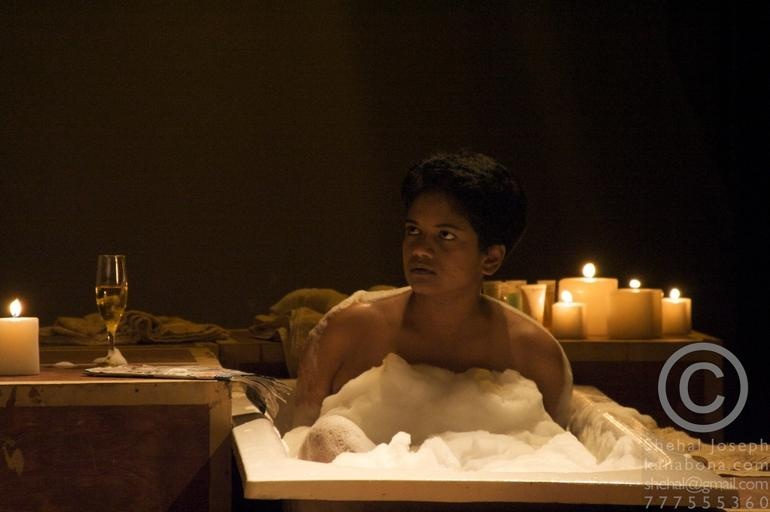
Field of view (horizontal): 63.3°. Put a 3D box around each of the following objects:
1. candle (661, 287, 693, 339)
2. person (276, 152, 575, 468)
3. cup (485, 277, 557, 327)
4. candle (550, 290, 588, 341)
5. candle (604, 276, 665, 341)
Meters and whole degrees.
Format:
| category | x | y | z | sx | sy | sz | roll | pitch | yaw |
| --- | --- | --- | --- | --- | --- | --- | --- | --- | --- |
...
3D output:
| category | x | y | z | sx | sy | sz | roll | pitch | yaw |
| --- | --- | --- | --- | --- | --- | --- | --- | --- | --- |
| candle | 1.133 | 0.229 | 2.464 | 0.102 | 0.115 | 0.101 | -3 | 3 | -10 |
| person | 0.180 | 0.257 | 1.940 | 0.843 | 1.051 | 0.563 | 7 | 0 | -7 |
| cup | 0.504 | 0.172 | 2.341 | 0.218 | 0.164 | 0.174 | 4 | -8 | -16 |
| candle | 0.673 | 0.206 | 2.300 | 0.113 | 0.183 | 0.097 | -3 | 17 | 16 |
| candle | 0.909 | 0.208 | 2.289 | 0.180 | 0.184 | 0.182 | 0 | -1 | 6 |
